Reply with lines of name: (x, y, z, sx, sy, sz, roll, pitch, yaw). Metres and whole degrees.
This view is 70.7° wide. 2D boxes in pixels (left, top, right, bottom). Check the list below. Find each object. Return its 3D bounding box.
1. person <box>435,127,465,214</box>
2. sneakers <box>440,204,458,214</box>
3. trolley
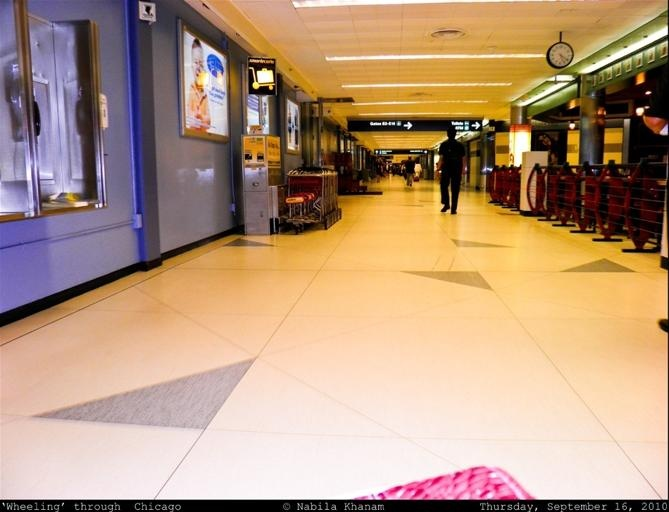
person: (2.666, -1.949, 10.870, 0.572, 1.930, 0.434, 4, 9, 18)
sneakers: (2.747, -1.081, 10.948, 0.576, 0.245, 0.192, 2, 9, -2)
trolley: (-0.427, -1.009, 8.820, 0.618, 0.803, 1.566, 0, 8, 4)
